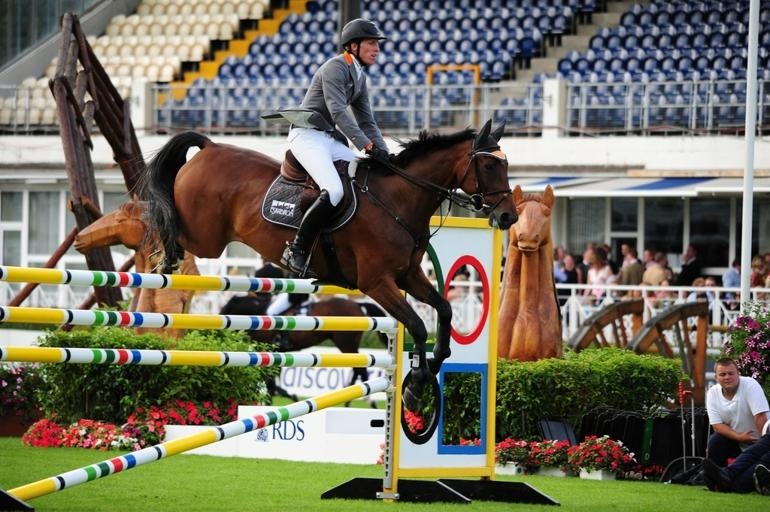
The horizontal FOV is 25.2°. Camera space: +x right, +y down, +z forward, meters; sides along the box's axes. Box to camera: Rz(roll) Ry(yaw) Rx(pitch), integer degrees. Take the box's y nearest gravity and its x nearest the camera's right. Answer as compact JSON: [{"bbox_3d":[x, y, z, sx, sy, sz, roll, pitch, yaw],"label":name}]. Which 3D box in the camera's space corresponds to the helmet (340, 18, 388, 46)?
[{"bbox_3d":[-0.316,-3.419,26.030,0.558,0.295,0.391,-3,-1,9],"label":"helmet"}]

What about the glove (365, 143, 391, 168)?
[{"bbox_3d":[-0.052,-1.529,25.871,0.387,0.181,0.276,37,40,7],"label":"glove"}]

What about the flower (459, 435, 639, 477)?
[{"bbox_3d":[3.053,3.264,27.943,2.317,0.658,0.317,1,-6,3],"label":"flower"}]
